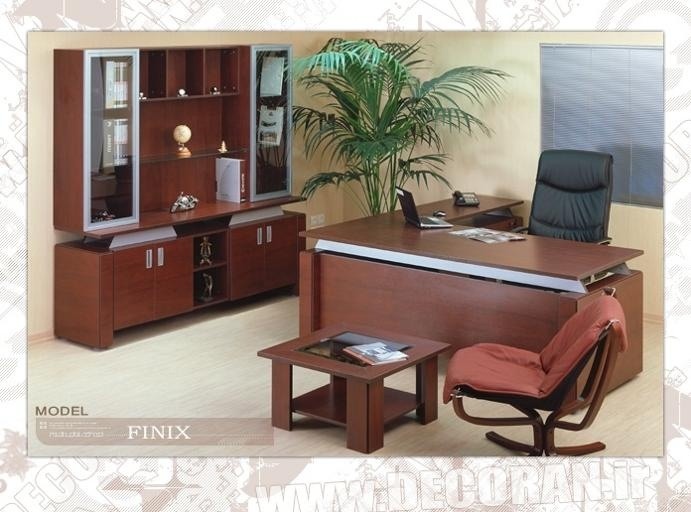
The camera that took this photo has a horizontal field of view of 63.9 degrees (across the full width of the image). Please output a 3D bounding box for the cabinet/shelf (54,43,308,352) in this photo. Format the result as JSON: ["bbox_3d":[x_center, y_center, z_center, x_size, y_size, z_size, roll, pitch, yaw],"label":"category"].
[{"bbox_3d":[-1.548,-0.533,5.001,0.725,2.410,2.761,9,15,33],"label":"cabinet/shelf"}]

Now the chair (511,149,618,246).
[{"bbox_3d":[2.223,-0.563,5.118,0.728,0.895,0.881,9,12,38],"label":"chair"}]

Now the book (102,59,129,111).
[{"bbox_3d":[-1.849,-1.384,4.503,0.035,0.382,0.231,11,18,39],"label":"book"}]

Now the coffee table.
[{"bbox_3d":[0.013,0.783,3.441,0.825,0.451,0.820,9,17,35],"label":"coffee table"}]

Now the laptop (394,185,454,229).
[{"bbox_3d":[0.655,-0.401,4.693,0.412,0.262,0.436,-5,14,-19],"label":"laptop"}]

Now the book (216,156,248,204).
[{"bbox_3d":[-1.126,-0.771,5.585,0.473,0.419,0.169,10,16,37],"label":"book"}]

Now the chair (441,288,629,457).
[{"bbox_3d":[1.056,0.693,3.158,0.961,0.807,0.845,-2,6,22],"label":"chair"}]
